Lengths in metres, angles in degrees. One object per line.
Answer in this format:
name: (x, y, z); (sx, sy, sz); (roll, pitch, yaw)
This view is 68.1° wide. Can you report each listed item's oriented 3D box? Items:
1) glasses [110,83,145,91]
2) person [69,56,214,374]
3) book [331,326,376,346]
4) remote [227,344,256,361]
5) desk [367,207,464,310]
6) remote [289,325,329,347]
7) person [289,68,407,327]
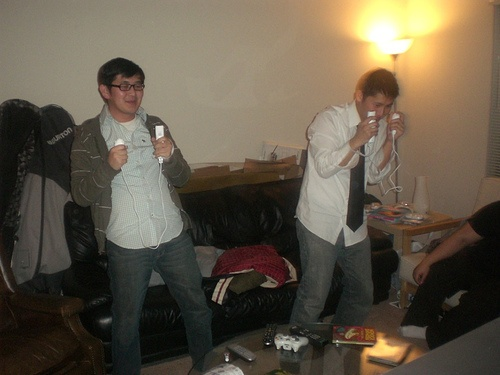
glasses: (-0.625, -0.520, 1.919); (0.181, 0.044, 0.074); (-11, 11, -37)
person: (-0.590, 0.165, 1.987); (0.631, 1.682, 0.357); (-9, 9, -24)
book: (0.510, 0.719, 1.809); (0.133, 0.033, 0.100); (1, 23, 7)
remote: (-0.035, 0.771, 1.759); (0.106, 0.025, 0.053); (11, 13, 39)
desk: (1.453, 0.418, 3.193); (0.724, 0.712, 0.724); (-11, 22, -27)
remote: (0.296, 0.700, 1.816); (0.160, 0.039, 0.079); (16, 17, 41)
person: (0.532, 0.083, 2.066); (0.782, 1.407, 0.481); (-6, 8, -9)
